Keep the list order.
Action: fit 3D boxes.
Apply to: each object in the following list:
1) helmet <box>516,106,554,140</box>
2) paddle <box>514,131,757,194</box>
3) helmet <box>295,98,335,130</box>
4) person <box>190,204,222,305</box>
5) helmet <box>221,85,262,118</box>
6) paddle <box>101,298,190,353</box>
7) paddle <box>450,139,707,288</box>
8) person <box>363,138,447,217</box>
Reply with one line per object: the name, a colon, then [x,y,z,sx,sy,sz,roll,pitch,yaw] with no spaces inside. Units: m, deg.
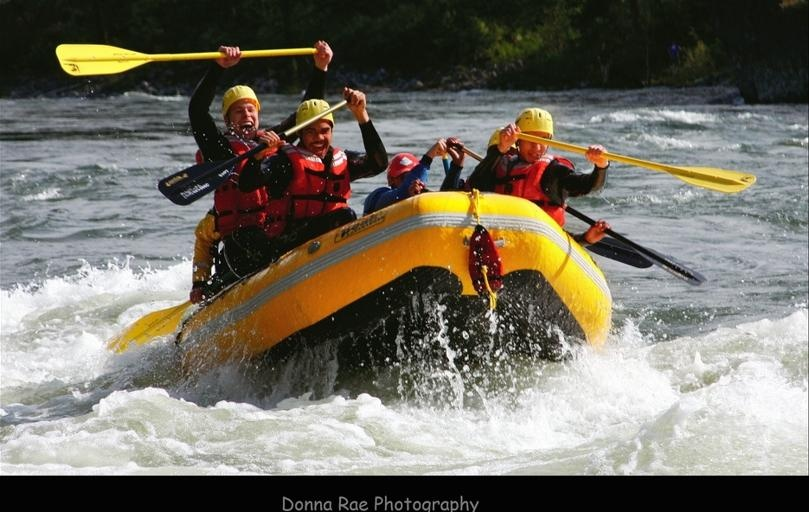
helmet: [1.376,-1.423,13.725,0.289,0.362,0.287,2,33,7]
paddle: [2.965,-1.139,16.133,3.249,0.219,0.430,13,48,-1]
helmet: [-0.963,-1.483,13.779,0.270,0.346,0.264,1,56,-10]
person: [-2.199,0.008,14.204,0.360,0.973,0.269,6,3,-13]
helmet: [-1.818,-1.707,14.100,0.303,0.200,0.397,-9,-17,-17]
paddle: [-2.830,0.798,14.402,1.215,0.162,0.409,-20,45,-16]
paddle: [1.953,-0.412,14.460,3.453,0.253,0.473,28,10,-3]
person: [0.020,-0.816,13.615,0.575,0.421,1.086,6,-28,-41]
